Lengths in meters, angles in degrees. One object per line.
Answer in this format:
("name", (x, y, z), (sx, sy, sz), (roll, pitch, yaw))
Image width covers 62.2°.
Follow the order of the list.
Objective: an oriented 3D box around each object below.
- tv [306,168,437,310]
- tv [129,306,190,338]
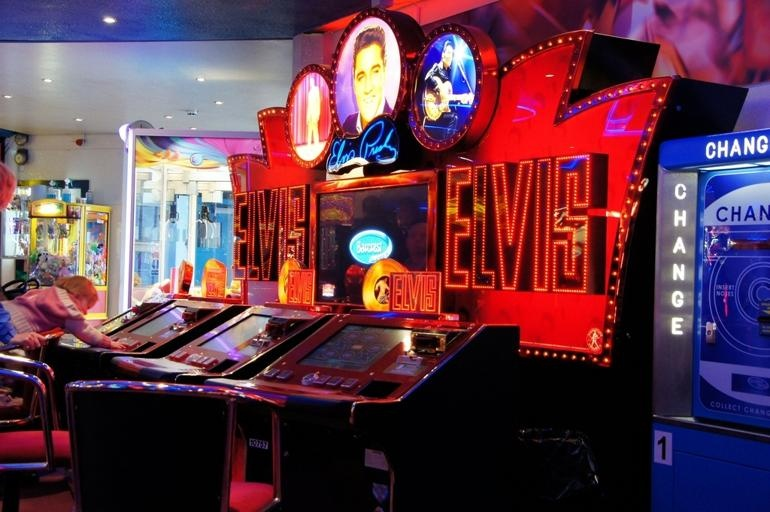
("tv", (-0.069, -0.109, 4.688), (1.126, 0.903, 0.124), (-1, -2, 41))
("tv", (-1.845, 0.526, 5.161), (0.401, 0.194, 0.567), (-1, 3, -19))
